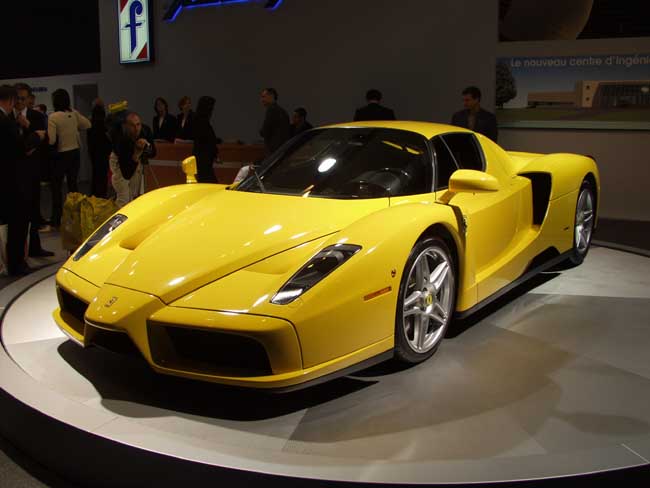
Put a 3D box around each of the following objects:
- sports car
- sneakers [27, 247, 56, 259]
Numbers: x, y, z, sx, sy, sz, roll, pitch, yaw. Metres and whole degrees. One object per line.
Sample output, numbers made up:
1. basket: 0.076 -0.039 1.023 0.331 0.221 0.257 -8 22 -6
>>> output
1. sports car: 0.284 0.020 3.053 1.790 1.044 3.004 5 12 40
2. sneakers: -3.317 0.100 5.446 0.299 0.157 0.115 -4 21 -9
